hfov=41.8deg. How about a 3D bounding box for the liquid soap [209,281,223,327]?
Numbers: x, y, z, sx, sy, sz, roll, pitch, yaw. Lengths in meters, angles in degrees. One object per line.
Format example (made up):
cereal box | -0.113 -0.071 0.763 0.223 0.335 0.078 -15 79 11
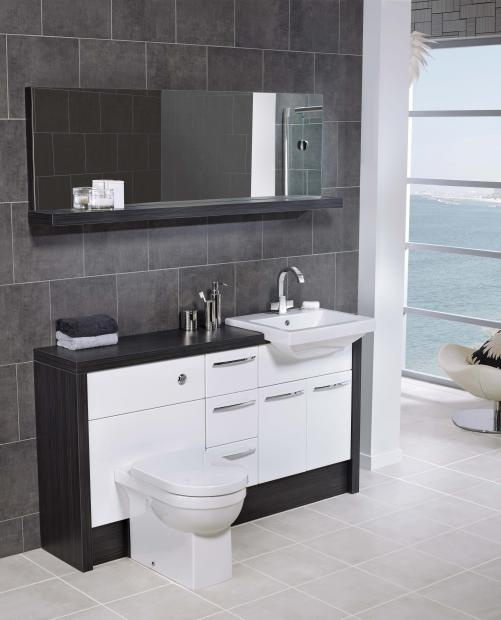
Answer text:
liquid soap | -0.159 -0.027 3.049 0.055 0.202 0.183 0 6 -3

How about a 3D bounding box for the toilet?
toilet | -0.232 0.766 2.424 0.324 0.426 0.473 -4 7 -42

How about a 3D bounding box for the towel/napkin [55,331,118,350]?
towel/napkin | -0.634 0.119 2.563 0.230 0.060 0.142 -1 6 -16

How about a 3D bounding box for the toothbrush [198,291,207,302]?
toothbrush | -0.212 -0.059 2.978 0.013 0.054 0.033 -25 22 43

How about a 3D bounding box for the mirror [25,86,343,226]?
mirror | -0.228 -0.675 2.756 1.285 0.569 0.238 -5 1 -20
